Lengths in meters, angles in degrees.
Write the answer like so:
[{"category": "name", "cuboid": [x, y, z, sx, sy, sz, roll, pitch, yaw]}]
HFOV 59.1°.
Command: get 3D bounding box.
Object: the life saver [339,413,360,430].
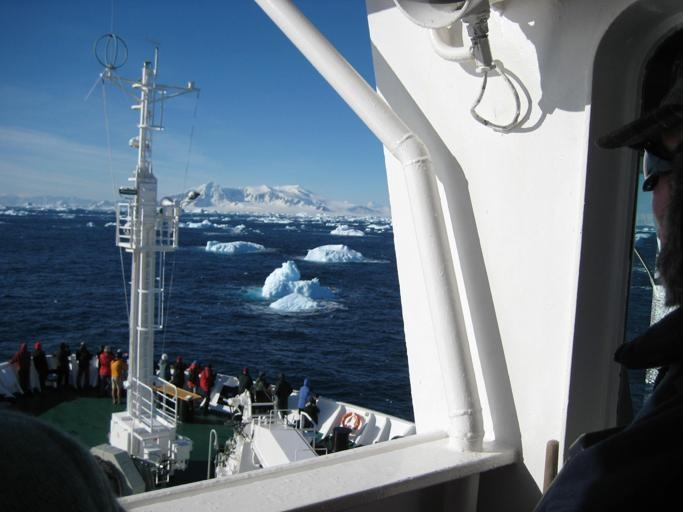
[{"category": "life saver", "cuboid": [0.168, 2.803, 10.235, 0.357, 0.216, 0.552, 3, 5, -5]}]
